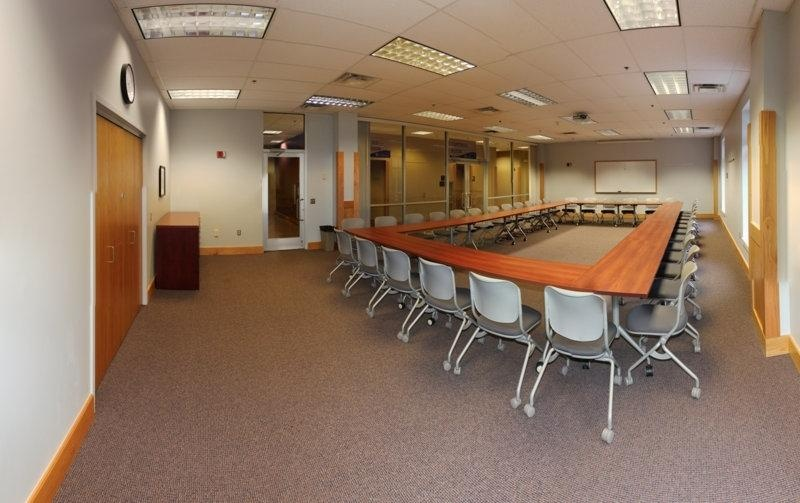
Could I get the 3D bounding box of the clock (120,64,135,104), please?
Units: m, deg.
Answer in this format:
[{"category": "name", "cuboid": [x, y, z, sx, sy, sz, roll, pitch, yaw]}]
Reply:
[{"category": "clock", "cuboid": [-3.426, -2.113, 6.122, 0.064, 0.482, 0.496, 0, 42, -16]}]
